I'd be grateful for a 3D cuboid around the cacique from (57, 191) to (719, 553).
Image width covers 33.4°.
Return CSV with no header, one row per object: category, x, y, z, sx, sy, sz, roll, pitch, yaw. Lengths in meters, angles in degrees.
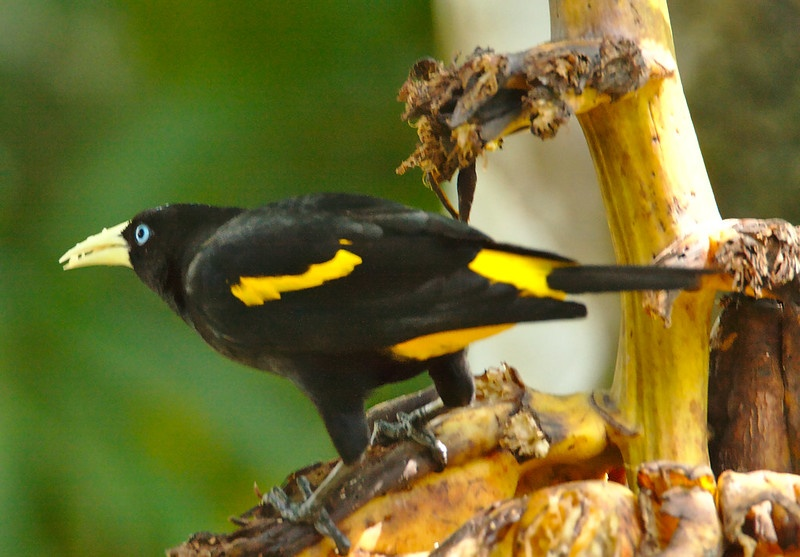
cacique,-0.269,0.122,2.573,1.612,0.659,0.516,-1,13,19
